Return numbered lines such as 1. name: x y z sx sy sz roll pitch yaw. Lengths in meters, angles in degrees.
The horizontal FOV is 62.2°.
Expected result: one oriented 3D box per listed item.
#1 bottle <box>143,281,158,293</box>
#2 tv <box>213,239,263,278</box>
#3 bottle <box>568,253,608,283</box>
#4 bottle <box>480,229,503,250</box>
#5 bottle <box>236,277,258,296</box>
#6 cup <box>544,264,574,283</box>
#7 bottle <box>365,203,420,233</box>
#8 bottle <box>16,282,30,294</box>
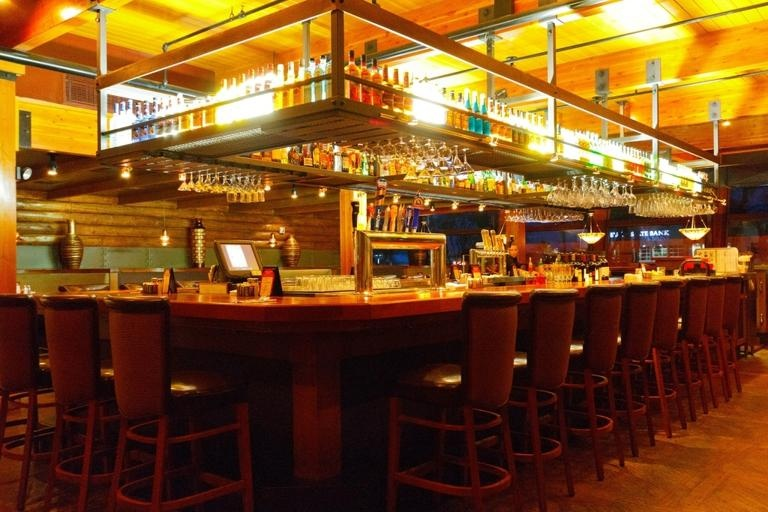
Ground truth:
1. bottle: -2.208 0.301 5.994 0.166 0.092 0.159 1 -6 0
2. tv: -1.458 0.039 6.500 0.301 0.320 0.427 1 -1 26
3. bottle: 2.533 0.165 7.896 0.423 0.229 0.202 4 -7 -43
4. bottle: 1.240 -0.181 7.237 0.247 0.248 0.416 1 -1 9
5. bottle: -1.137 0.267 5.253 0.153 0.149 0.182 1 -7 -3
6. cup: 1.976 0.198 7.301 0.292 0.179 0.294 0 -8 0
7. bottle: 0.083 -0.351 6.000 0.403 0.190 0.042 0 12 -20
8. bottle: -4.812 0.424 8.472 0.233 0.171 0.211 2 -4 -28
